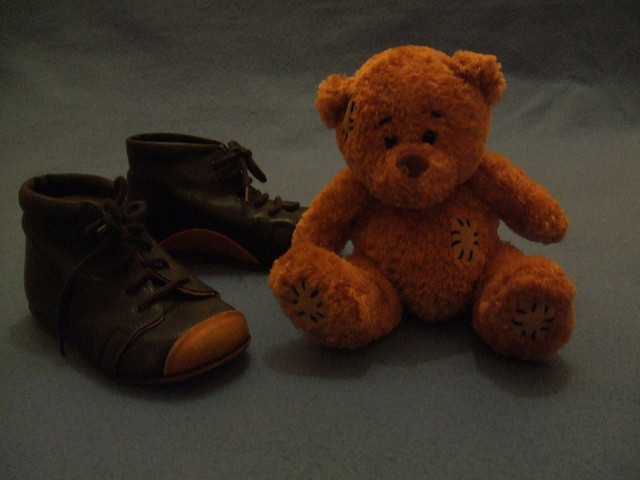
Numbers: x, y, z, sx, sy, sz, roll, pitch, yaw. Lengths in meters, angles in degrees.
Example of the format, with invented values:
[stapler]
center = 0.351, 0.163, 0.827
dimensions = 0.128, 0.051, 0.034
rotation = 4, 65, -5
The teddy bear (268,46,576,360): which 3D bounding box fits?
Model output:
[teddy bear]
center = 0.222, -0.077, 1.500
dimensions = 0.598, 0.633, 0.474
rotation = -6, 25, 7
